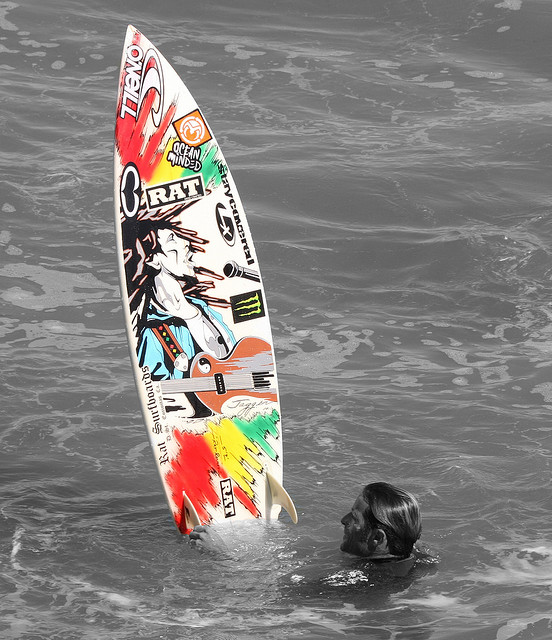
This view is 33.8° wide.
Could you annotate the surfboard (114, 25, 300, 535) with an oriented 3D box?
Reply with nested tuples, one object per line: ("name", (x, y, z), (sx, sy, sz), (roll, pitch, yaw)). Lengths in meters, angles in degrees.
("surfboard", (-0.577, 0.014, 5.842), (1.101, 3.663, 0.593), (-15, 32, -11))
